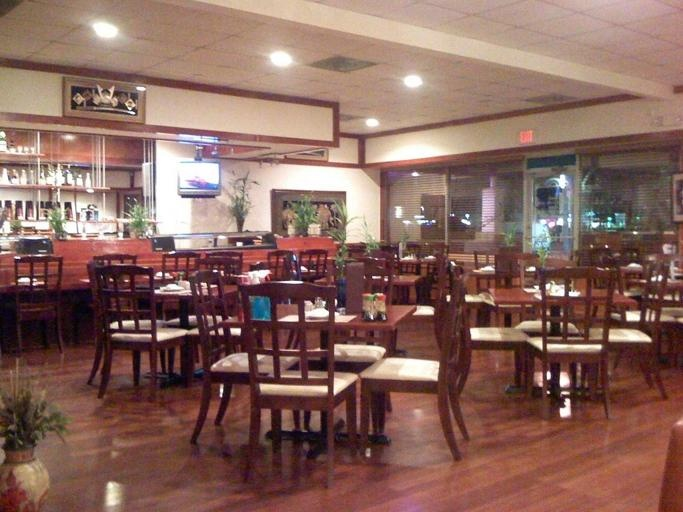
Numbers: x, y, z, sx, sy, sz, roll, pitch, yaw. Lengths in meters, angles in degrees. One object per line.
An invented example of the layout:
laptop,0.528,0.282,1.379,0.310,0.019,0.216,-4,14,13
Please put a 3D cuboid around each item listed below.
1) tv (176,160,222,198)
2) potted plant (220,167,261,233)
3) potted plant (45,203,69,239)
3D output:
tv,-2.608,-1.478,10.504,0.908,0.694,0.492,4,8,22
potted plant,-2.019,-1.135,11.082,0.682,1.222,0.343,-2,6,-21
potted plant,-4.184,-0.498,8.061,0.214,0.468,0.899,-3,5,-27
